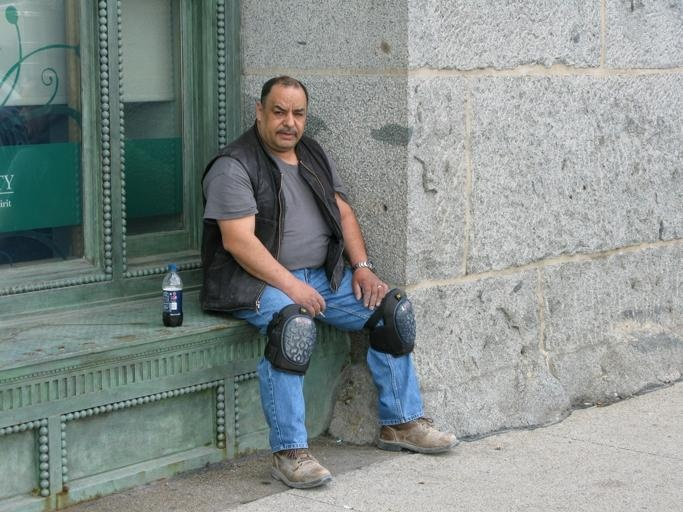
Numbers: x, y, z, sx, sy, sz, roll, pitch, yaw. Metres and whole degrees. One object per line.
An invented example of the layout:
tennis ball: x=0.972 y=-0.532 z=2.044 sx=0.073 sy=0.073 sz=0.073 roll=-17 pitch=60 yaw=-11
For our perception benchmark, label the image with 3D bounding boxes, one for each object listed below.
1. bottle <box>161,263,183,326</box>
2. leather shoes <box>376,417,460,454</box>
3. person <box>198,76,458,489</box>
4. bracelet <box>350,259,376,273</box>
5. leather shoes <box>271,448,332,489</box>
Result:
bottle: x=-0.918 y=0.211 z=3.825 sx=0.105 sy=0.301 sz=0.223 roll=-3 pitch=11 yaw=-15
leather shoes: x=0.437 y=1.025 z=3.982 sx=0.447 sy=0.240 sz=0.183 roll=0 pitch=2 yaw=12
person: x=-0.165 y=0.067 z=3.927 sx=1.070 sy=2.084 sz=0.922 roll=-6 pitch=12 yaw=-30
bracelet: x=0.137 y=0.075 z=4.129 sx=0.097 sy=0.075 sz=0.109 roll=-19 pitch=-23 yaw=22
leather shoes: x=-0.217 y=1.079 z=3.671 sx=0.321 sy=0.191 sz=0.142 roll=3 pitch=7 yaw=37
